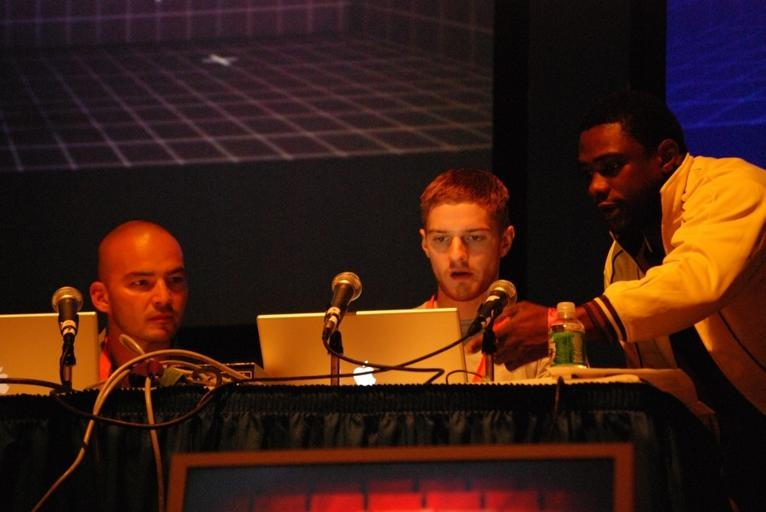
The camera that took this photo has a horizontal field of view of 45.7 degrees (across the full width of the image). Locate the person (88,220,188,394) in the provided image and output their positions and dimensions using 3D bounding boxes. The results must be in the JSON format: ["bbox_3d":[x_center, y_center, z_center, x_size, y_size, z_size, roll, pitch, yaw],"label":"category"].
[{"bbox_3d":[-1.222,0.198,4.505,0.511,0.764,0.271,-5,-4,5],"label":"person"}]

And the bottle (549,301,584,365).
[{"bbox_3d":[0.679,0.291,3.365,0.129,0.240,0.294,-6,-5,11],"label":"bottle"}]

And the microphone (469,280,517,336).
[{"bbox_3d":[0.396,0.179,3.382,0.098,0.102,0.302,6,25,27],"label":"microphone"}]

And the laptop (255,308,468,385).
[{"bbox_3d":[-0.082,0.360,3.530,0.782,0.313,0.262,-5,-5,3],"label":"laptop"}]
